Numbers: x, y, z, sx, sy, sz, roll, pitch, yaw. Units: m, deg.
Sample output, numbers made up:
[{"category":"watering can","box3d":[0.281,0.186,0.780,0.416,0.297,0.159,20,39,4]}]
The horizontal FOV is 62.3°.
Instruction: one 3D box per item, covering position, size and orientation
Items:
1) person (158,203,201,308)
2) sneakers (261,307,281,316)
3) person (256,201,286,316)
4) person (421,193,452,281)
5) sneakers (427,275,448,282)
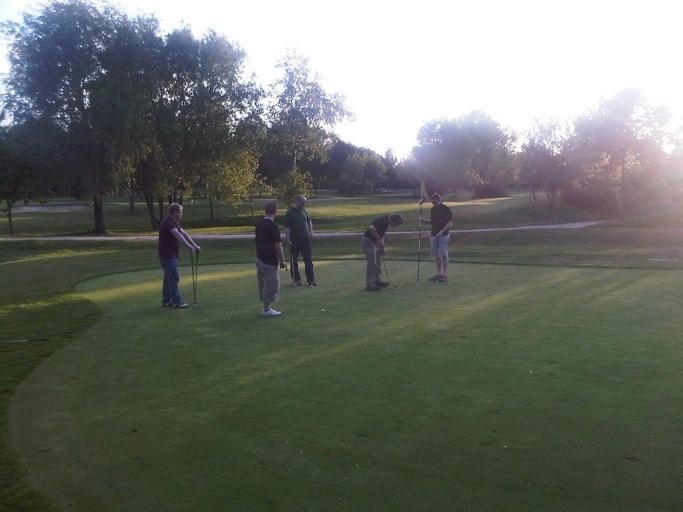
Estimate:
[{"category":"person","box3d":[-3.552,-0.044,12.054,0.682,2.161,1.315,-4,11,-18]},{"category":"sneakers","box3d":[-1.340,1.056,10.811,0.331,0.144,0.160,2,7,-5]},{"category":"person","box3d":[-1.408,0.050,11.138,0.536,2.167,1.239,-2,10,-9]},{"category":"person","box3d":[2.525,-0.483,14.692,0.610,2.305,1.246,1,10,10]},{"category":"sneakers","box3d":[2.477,0.583,14.511,0.468,0.220,0.183,2,4,3]}]
